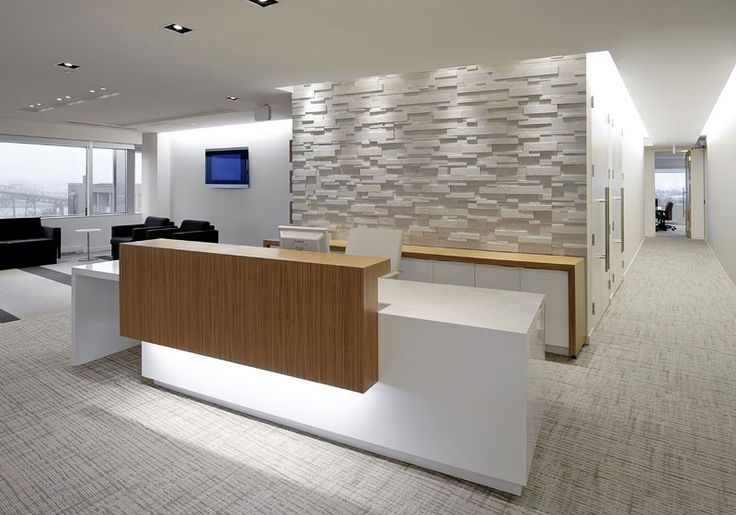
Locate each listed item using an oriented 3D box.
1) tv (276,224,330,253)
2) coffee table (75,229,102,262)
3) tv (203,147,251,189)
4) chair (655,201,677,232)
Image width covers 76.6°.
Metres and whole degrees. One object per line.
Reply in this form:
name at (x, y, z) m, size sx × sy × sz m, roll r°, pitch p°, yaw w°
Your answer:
tv at (-0.660, -0.192, 4.821) m, size 0.571 × 0.225 × 0.248 m, roll 9°, pitch 15°, yaw 39°
coffee table at (-6.814, -0.362, 11.302) m, size 0.411 × 0.704 × 1.725 m, roll -8°, pitch 13°, yaw -31°
tv at (-3.177, -1.993, 10.405) m, size 1.298 × 0.833 × 0.157 m, roll 6°, pitch 13°, yaw 30°
chair at (11.983, -1.695, 18.593) m, size 0.689 × 1.126 × 2.242 m, roll 7°, pitch 13°, yaw 33°
